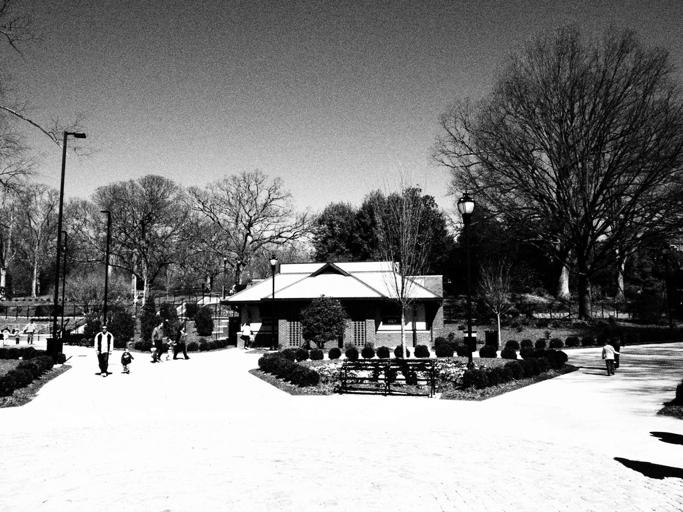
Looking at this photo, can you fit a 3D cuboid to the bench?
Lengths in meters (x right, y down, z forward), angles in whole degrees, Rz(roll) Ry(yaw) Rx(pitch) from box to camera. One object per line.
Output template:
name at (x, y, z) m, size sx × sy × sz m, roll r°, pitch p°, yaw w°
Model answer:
bench at (1.805, 4.467, 24.614) m, size 3.453 × 1.314 × 2.045 m, roll -2°, pitch -8°, yaw 9°

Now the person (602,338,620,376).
person at (11.539, 4.285, 28.430) m, size 0.585 × 1.548 × 2.280 m, roll -3°, pitch -8°, yaw 22°

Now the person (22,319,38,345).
person at (-23.140, 5.710, 49.708) m, size 1.090 × 2.418 × 0.689 m, roll 4°, pitch -4°, yaw -40°

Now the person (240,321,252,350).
person at (-5.841, 4.926, 41.235) m, size 0.583 × 1.650 × 1.507 m, roll 0°, pitch -7°, yaw -9°
